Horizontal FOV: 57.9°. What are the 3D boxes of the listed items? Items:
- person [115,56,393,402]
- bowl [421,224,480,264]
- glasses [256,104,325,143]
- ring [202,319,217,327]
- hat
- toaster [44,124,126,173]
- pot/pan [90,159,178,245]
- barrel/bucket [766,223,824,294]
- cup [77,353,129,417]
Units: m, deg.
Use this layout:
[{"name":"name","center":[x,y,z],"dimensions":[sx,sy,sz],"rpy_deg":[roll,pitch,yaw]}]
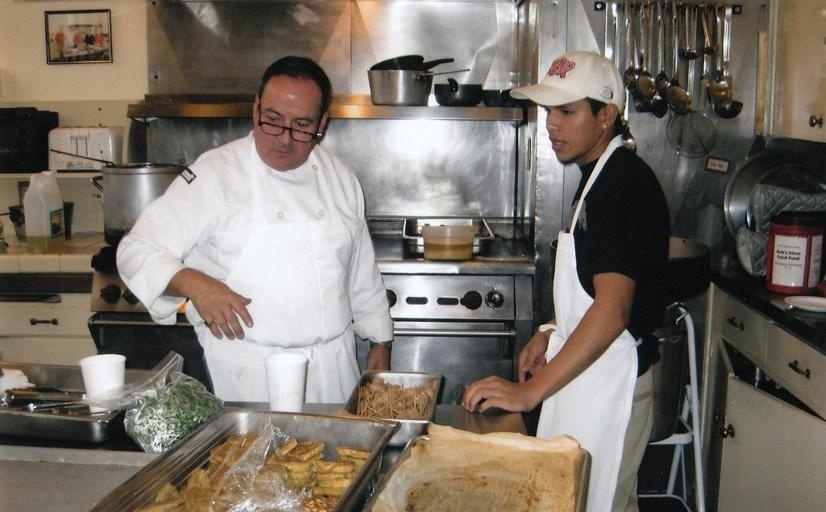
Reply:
[{"name":"person","center":[-0.593,-0.063,2.970],"dimensions":[1.019,1.413,0.487],"rpy_deg":[-8,12,-28]},{"name":"bowl","center":[0.184,-0.058,3.838],"dimensions":[0.206,0.128,0.202],"rpy_deg":[0,3,0]},{"name":"glasses","center":[-0.488,-0.514,2.952],"dimensions":[0.245,0.149,0.117],"rpy_deg":[-5,11,-12]},{"name":"ring","center":[-0.765,0.256,2.812],"dimensions":[0.046,0.034,0.046],"rpy_deg":[2,6,0]},{"name":"hat","center":[0.617,-0.700,2.951],"dimensions":[0.463,0.227,0.330],"rpy_deg":[4,11,-17]},{"name":"toaster","center":[-2.057,-0.646,4.525],"dimensions":[0.423,0.296,0.255],"rpy_deg":[-7,25,-38]},{"name":"pot/pan","center":[-1.436,-0.311,4.105],"dimensions":[0.669,0.493,0.409],"rpy_deg":[0,4,-2]},{"name":"barrel/bucket","center":[1.724,0.013,3.381],"dimensions":[0.214,0.331,0.112],"rpy_deg":[2,12,24]},{"name":"cup","center":[-1.084,0.443,2.613],"dimensions":[0.178,0.184,0.185],"rpy_deg":[0,-4,0]}]
